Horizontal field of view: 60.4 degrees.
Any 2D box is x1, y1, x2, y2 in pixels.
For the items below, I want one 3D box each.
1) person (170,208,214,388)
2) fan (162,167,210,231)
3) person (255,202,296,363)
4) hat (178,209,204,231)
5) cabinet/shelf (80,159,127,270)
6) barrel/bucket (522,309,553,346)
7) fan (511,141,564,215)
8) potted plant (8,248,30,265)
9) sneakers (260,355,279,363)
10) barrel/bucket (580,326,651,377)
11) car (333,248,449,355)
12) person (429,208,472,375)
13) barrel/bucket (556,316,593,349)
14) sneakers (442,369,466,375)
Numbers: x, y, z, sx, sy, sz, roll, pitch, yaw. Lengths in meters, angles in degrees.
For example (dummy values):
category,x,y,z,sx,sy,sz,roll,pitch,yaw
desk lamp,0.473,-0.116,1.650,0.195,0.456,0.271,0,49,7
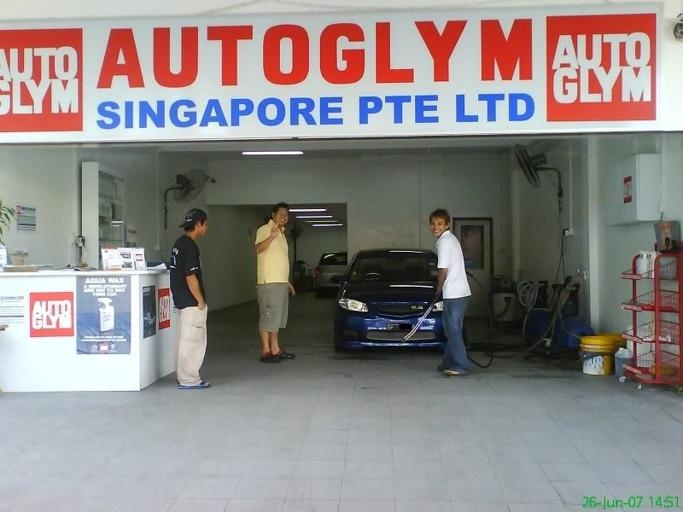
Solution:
category,x,y,z,sx,sy,sz,roll,pitch,yaw
person,-1.655,0.432,6.368,0.392,1.894,0.759,-1,4,-17
fan,-3.240,-1.309,12.293,1.169,1.410,0.878,-3,12,-12
person,-0.832,0.334,7.364,0.453,1.993,0.390,-1,4,-19
hat,-1.581,-0.403,6.402,0.206,0.190,0.336,0,7,27
cabinet/shelf,-4.123,-0.730,10.063,0.512,1.766,1.150,-1,4,-9
barrel/bucket,2.693,0.986,7.998,0.243,0.543,0.580,0,4,-2
fan,3.368,-1.470,10.135,0.934,1.581,1.029,-5,1,16
potted plant,-3.911,-0.003,7.087,0.165,0.211,0.208,-2,-12,3
sneakers,-0.905,1.270,7.354,0.183,0.084,0.109,2,1,1
barrel/bucket,3.030,1.070,6.632,0.582,0.311,0.455,1,3,19
car,0.655,0.613,7.419,1.165,1.097,2.355,-1,-2,4
person,1.255,0.389,6.718,0.420,1.851,0.511,0,3,0
barrel/bucket,2.897,0.953,7.448,0.329,0.442,0.155,2,1,1
sneakers,1.263,1.306,6.557,0.232,0.102,0.082,-3,-1,4
